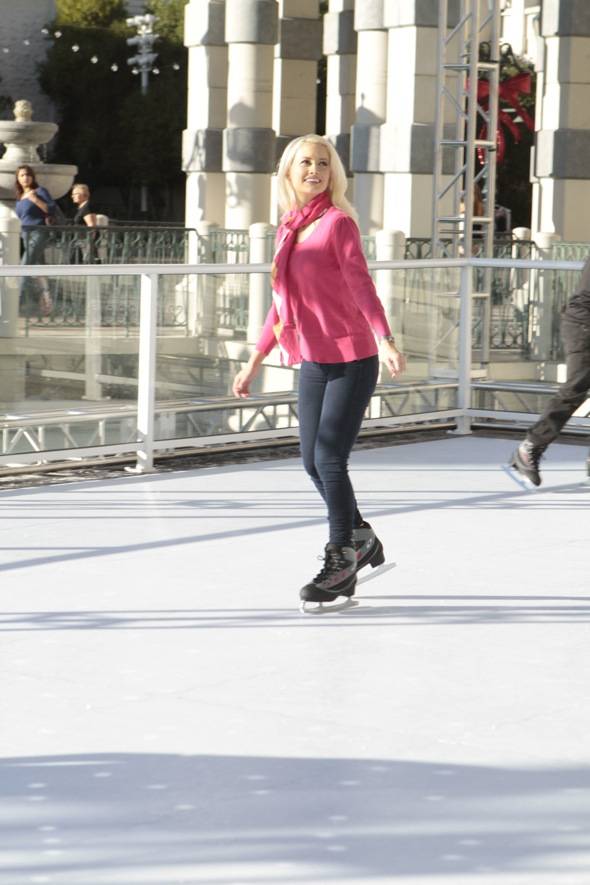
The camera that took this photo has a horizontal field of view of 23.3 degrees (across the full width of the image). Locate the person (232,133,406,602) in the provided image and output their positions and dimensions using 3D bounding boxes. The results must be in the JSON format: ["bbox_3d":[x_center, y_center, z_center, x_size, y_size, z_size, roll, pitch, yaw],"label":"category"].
[{"bbox_3d":[0.134,-0.245,4.824,0.509,1.559,0.347,3,9,16],"label":"person"}]
